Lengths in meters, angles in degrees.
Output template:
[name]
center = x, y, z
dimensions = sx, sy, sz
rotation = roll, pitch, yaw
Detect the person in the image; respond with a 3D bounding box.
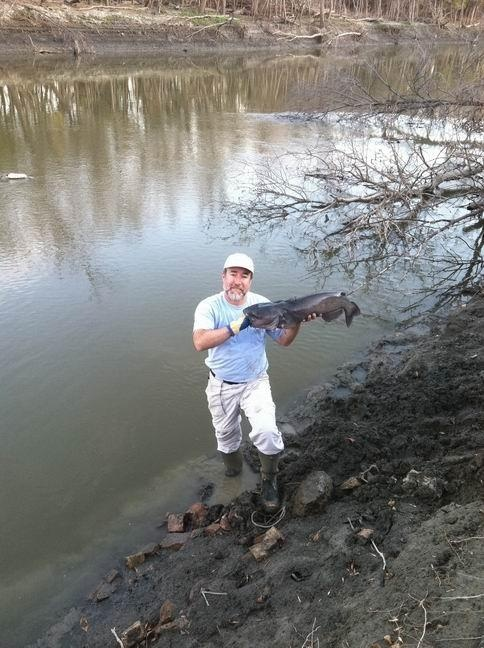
[person]
center = 0.111, 0.475, 5.579
dimensions = 1.033, 2.354, 1.147
rotation = -2, 6, -18

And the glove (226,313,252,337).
[glove]
center = -0.019, 0.017, 4.929
dimensions = 0.176, 0.170, 0.123
rotation = -22, 27, -35
